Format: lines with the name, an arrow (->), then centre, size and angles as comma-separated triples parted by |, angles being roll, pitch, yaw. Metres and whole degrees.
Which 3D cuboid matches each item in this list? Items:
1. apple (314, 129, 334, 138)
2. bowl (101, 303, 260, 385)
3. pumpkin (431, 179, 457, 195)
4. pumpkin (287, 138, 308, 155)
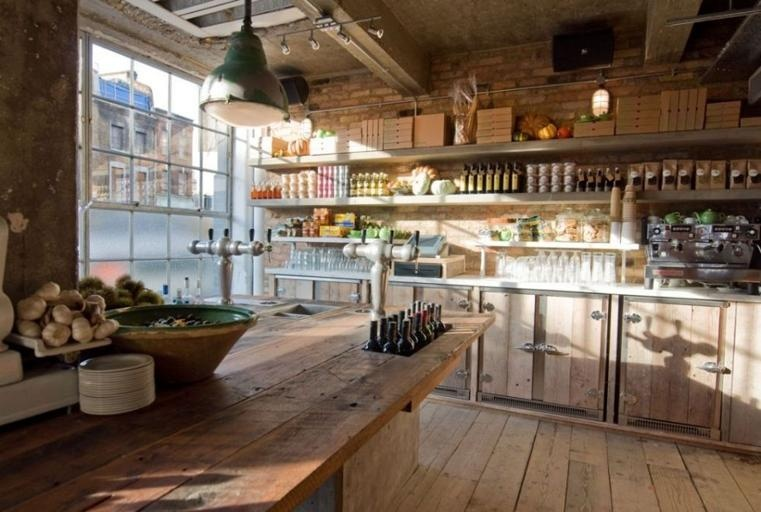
apple -> -0.617, -1.336, 5.880 | 0.155, 0.046, 0.158 | 5, 8, 45
bowl -> -0.884, 0.376, 2.414 | 0.690, 0.201, 0.645 | 1, 4, 0
pumpkin -> 0.626, -0.677, 5.368 | 0.214, 0.120, 0.185 | 0, -1, -5
pumpkin -> -0.912, -1.211, 6.028 | 0.228, 0.222, 0.204 | 1, 4, -7
